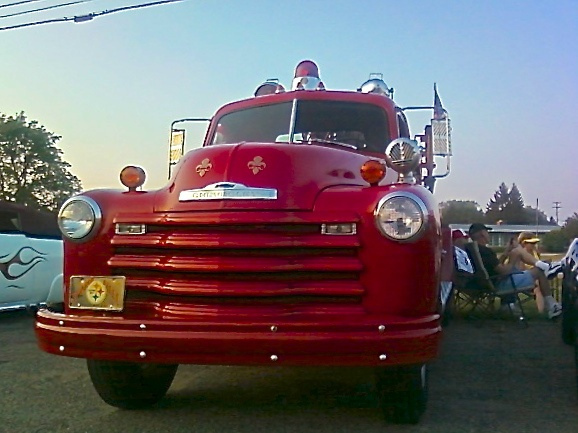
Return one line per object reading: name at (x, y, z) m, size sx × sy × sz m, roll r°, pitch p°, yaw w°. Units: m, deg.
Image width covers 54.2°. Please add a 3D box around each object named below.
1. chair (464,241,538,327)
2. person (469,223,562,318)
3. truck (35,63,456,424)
chair at (3.254, 0.946, 8.465) m, size 0.964 × 0.956 × 0.855 m, roll 6°, pitch 12°, yaw 29°
person at (3.292, 0.783, 8.485) m, size 0.940 × 1.358 × 1.697 m, roll 0°, pitch -2°, yaw -9°
truck at (0.307, 0.180, 5.521) m, size 2.314 × 2.059 × 4.450 m, roll -2°, pitch -6°, yaw 19°
